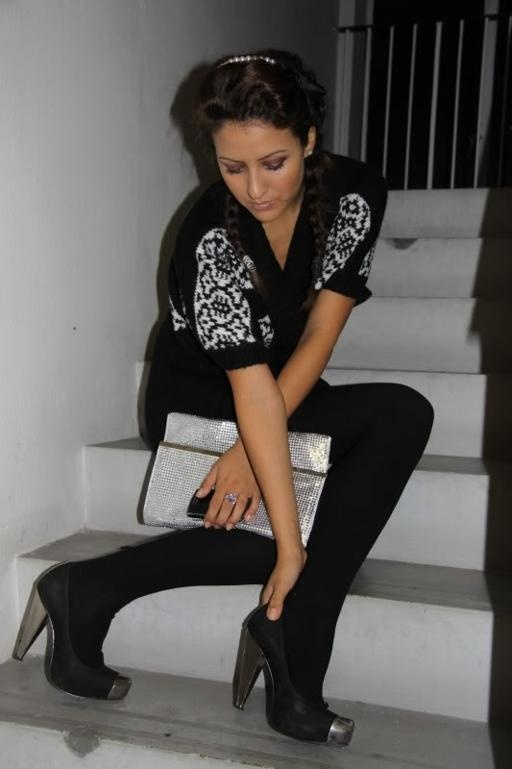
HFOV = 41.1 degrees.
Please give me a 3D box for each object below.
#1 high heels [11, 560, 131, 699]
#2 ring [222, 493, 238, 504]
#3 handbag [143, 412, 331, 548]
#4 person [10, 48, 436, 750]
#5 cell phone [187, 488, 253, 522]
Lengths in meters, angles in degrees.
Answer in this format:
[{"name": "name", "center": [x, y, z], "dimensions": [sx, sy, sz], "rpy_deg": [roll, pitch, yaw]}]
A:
[{"name": "high heels", "center": [-0.281, 0.371, 1.019], "dimensions": [0.181, 0.185, 0.092], "rpy_deg": [14, 21, 41]}, {"name": "ring", "center": [-0.036, 0.165, 0.980], "dimensions": [0.020, 0.017, 0.006], "rpy_deg": [4, 16, 14]}, {"name": "handbag", "center": [-0.019, 0.145, 1.053], "dimensions": [0.241, 0.176, 0.063], "rpy_deg": [9, -6, 19]}, {"name": "person", "center": [-0.033, -0.014, 1.062], "dimensions": [0.596, 0.920, 0.554], "rpy_deg": [5, 16, 18]}, {"name": "cell phone", "center": [-0.067, 0.181, 1.020], "dimensions": [0.068, 0.049, 0.020], "rpy_deg": [-6, 27, -2]}]
